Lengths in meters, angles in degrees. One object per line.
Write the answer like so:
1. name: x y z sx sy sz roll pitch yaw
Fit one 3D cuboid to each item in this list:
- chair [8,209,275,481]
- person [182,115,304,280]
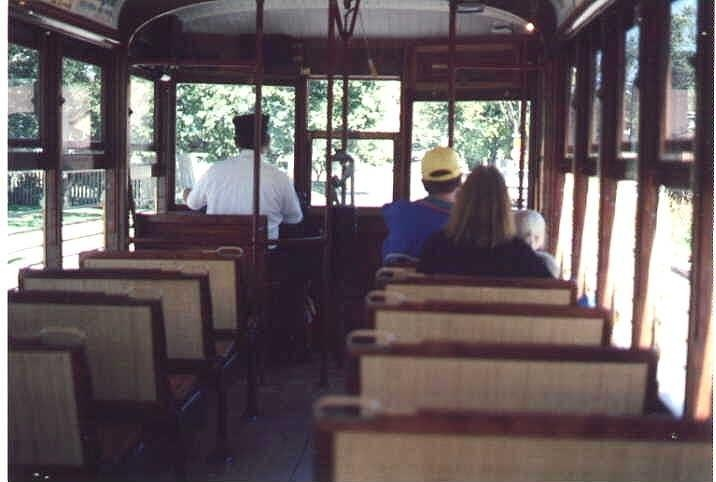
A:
1. chair: -0.880 0.459 3.332 0.980 1.437 1.035 0 9 -7
2. person: -0.818 -0.357 5.067 0.693 1.119 0.606 -2 -19 20
